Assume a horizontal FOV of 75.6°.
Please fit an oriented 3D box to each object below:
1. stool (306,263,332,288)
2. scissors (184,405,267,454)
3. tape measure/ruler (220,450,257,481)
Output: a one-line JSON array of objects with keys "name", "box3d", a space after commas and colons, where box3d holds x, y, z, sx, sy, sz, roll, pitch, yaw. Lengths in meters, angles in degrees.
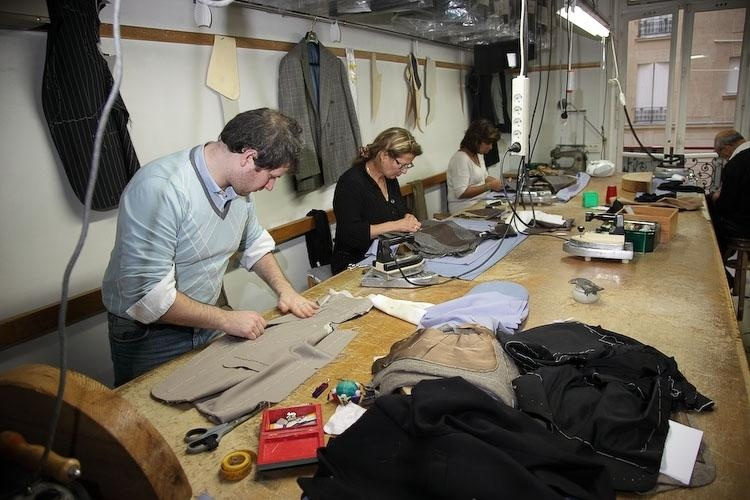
[{"name": "stool", "box3d": [-0.393, 0.175, 3.468, 0.133, 0.235, 0.164, 16, 22, 31]}, {"name": "scissors", "box3d": [-0.533, 0.614, 1.679, 0.083, 0.024, 0.219, 19, 27, 33]}, {"name": "tape measure/ruler", "box3d": [-0.440, 0.688, 1.551, 0.114, 0.059, 0.072, -6, 16, -19]}]
